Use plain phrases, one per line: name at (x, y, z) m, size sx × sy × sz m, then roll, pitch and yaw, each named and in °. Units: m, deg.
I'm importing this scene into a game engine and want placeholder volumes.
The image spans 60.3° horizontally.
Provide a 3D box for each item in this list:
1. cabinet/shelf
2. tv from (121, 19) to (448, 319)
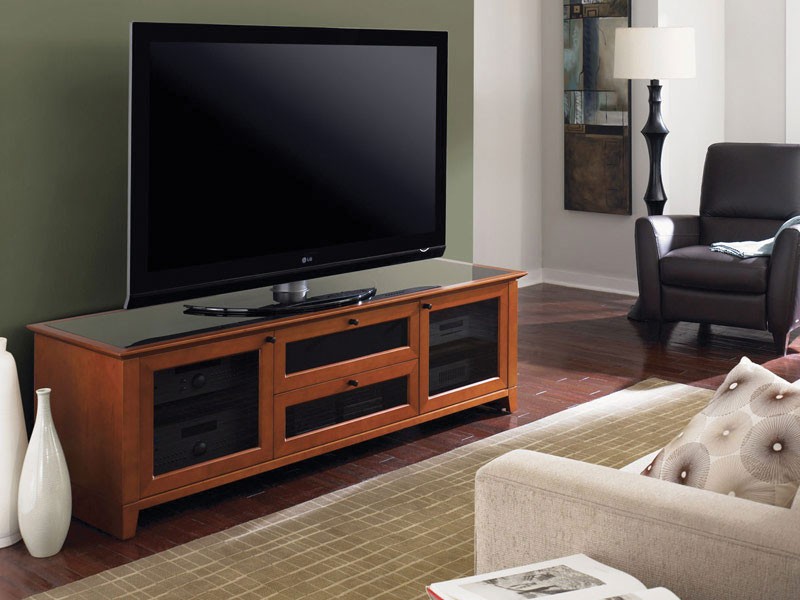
cabinet/shelf at (-0.425, 0.389, 3.322) m, size 2.187 × 0.654 × 0.636 m, roll -8°, pitch 8°, yaw -42°
tv at (-0.469, -0.587, 3.010) m, size 1.942 × 1.231 × 0.253 m, roll -12°, pitch 25°, yaw -39°
